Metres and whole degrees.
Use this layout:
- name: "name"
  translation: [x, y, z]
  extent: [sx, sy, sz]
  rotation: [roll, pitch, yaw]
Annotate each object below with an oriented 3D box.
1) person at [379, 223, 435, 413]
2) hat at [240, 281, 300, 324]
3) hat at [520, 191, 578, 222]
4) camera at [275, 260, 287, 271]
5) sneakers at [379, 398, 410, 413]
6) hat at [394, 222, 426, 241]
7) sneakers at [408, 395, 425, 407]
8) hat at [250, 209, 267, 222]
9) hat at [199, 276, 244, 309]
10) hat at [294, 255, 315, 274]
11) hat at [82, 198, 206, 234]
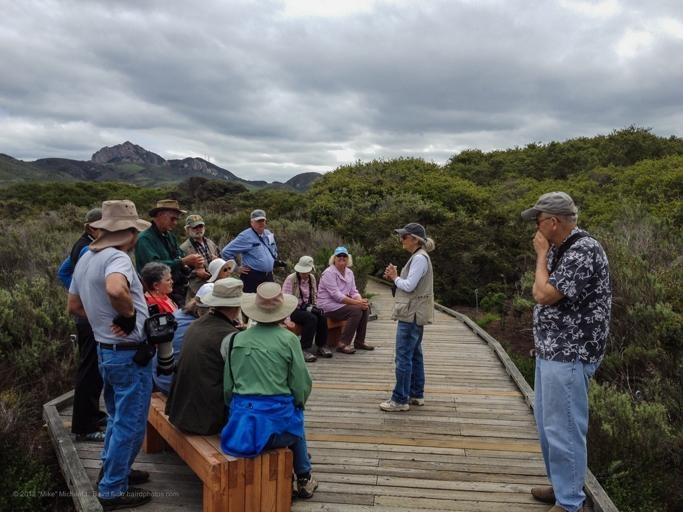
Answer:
- name: "person"
  translation: [0.782, 0.744, 5.551]
  extent: [0.568, 2.251, 0.480]
  rotation: [2, 8, 4]
- name: "hat"
  translation: [-0.628, 0.357, 3.966]
  extent: [0.485, 0.146, 0.462]
  rotation: [4, 26, 1]
- name: "hat"
  translation: [1.723, -0.418, 3.867]
  extent: [0.401, 0.192, 0.263]
  rotation: [6, 9, 25]
- name: "camera"
  translation: [-1.176, 0.188, 8.907]
  extent: [0.267, 0.106, 0.344]
  rotation: [5, -9, -13]
- name: "sneakers"
  translation: [0.636, 1.810, 5.706]
  extent: [0.380, 0.173, 0.140]
  rotation: [5, -2, 0]
- name: "hat"
  translation: [0.844, -0.295, 5.521]
  extent: [0.432, 0.200, 0.270]
  rotation: [7, 2, 5]
- name: "sneakers"
  translation: [0.930, 1.807, 5.843]
  extent: [0.084, 0.100, 0.209]
  rotation: [3, 4, -4]
- name: "hat"
  translation: [-1.329, -0.638, 7.367]
  extent: [0.239, 0.160, 0.314]
  rotation: [2, -3, -22]
- name: "hat"
  translation: [-1.025, 0.320, 4.071]
  extent: [0.306, 0.106, 0.275]
  rotation: [1, 18, -20]
- name: "hat"
  translation: [-0.566, 0.136, 7.439]
  extent: [0.219, 0.158, 0.304]
  rotation: [5, 3, 12]
- name: "hat"
  translation: [-1.821, -0.351, 4.285]
  extent: [0.617, 0.255, 0.804]
  rotation: [10, 6, 36]
